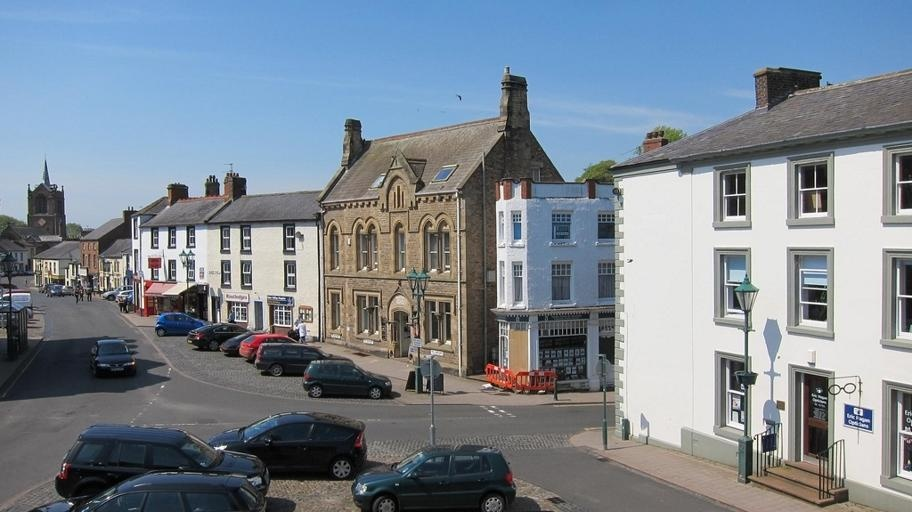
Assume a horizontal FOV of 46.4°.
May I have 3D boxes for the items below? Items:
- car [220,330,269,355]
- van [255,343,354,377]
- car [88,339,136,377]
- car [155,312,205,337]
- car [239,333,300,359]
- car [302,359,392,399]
[{"bbox_3d":[-15.163,6.280,76.834,3.330,1.005,1.506,-3,4,-31],"label":"car"},{"bbox_3d":[-10.641,6.946,73.070,6.998,2.037,3.398,4,3,-23],"label":"van"},{"bbox_3d":[-22.714,6.699,70.217,2.894,2.290,1.979,0,-3,32],"label":"car"},{"bbox_3d":[-21.993,5.408,84.959,3.713,1.480,2.095,-2,2,-17],"label":"car"},{"bbox_3d":[-13.045,6.213,75.189,3.870,1.203,1.828,-2,2,-32],"label":"car"},{"bbox_3d":[-6.664,7.725,68.220,5.766,1.932,2.682,1,7,4],"label":"car"}]
